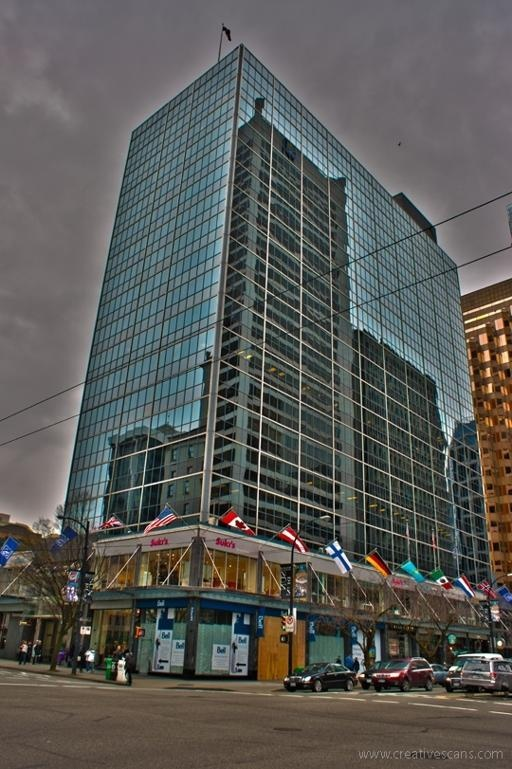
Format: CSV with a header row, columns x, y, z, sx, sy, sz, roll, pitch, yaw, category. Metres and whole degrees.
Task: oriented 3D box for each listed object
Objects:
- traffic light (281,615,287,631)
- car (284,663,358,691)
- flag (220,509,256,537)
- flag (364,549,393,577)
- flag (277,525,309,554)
x,y,z,sx,sy,sz,roll,pitch,yaw,category
1.635,13.411,32.476,0.117,0.705,0.466,11,-25,-17,traffic light
3.050,13.755,27.103,3.179,1.197,1.365,22,-30,-38,car
-1.541,10.317,43.610,2.277,1.881,6.829,4,-23,-2,flag
9.531,13.679,44.507,1.243,1.989,2.764,-4,-24,15,flag
2.908,12.425,46.363,0.513,2.209,6.121,34,-6,29,flag
